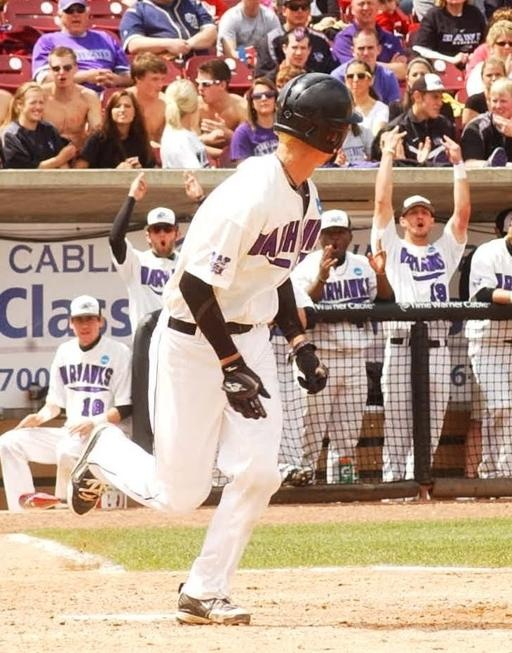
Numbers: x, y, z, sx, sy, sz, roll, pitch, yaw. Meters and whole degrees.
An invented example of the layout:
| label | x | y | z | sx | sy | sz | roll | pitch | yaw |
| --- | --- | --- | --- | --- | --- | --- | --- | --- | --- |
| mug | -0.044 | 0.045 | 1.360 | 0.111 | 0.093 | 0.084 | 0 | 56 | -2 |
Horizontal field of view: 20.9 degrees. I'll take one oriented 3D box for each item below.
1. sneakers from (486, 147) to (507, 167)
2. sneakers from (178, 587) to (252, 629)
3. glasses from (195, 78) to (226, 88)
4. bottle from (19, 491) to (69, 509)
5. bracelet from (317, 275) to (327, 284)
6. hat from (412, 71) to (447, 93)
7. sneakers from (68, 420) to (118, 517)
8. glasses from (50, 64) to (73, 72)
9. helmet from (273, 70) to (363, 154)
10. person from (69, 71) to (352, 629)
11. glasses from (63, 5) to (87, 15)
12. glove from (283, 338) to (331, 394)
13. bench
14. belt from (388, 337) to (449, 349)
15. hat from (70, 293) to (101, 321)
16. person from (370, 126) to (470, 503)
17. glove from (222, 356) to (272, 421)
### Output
| label | x | y | z | sx | sy | sz | roll | pitch | yaw |
| --- | --- | --- | --- | --- | --- | --- | --- | --- | --- |
| sneakers | 1.604 | -1.106 | 9.211 | 0.073 | 0.186 | 0.078 | 29 | -12 | -39 |
| sneakers | -0.165 | 1.061 | 5.110 | 0.291 | 0.120 | 0.102 | 0 | -11 | 9 |
| glasses | -0.333 | -1.675 | 9.557 | 0.120 | 0.036 | 0.114 | 0 | 13 | -20 |
| bottle | -1.273 | 1.025 | 8.111 | 0.244 | 0.093 | 0.222 | 3 | -8 | -6 |
| bracelet | 0.378 | -0.276 | 8.113 | 0.037 | 0.037 | 0.139 | -5 | -15 | 11 |
| hat | 1.129 | -1.593 | 9.084 | 0.192 | 0.100 | 0.118 | 10 | 27 | 38 |
| sneakers | -0.745 | 0.647 | 6.036 | 0.199 | 0.476 | 0.163 | 20 | 28 | 20 |
| glasses | -1.297 | -1.719 | 9.257 | 0.141 | 0.061 | 0.065 | 4 | -8 | -13 |
| helmet | 0.216 | -0.787 | 5.086 | 0.350 | 0.275 | 0.257 | -13 | 37 | -35 |
| person | -0.115 | 0.095 | 5.365 | 0.633 | 2.051 | 1.002 | 5 | -8 | -19 |
| glasses | -1.345 | -2.351 | 10.302 | 0.101 | 0.091 | 0.027 | -5 | 24 | -23 |
| glove | 0.157 | 0.181 | 5.430 | 0.092 | 0.213 | 0.163 | -34 | -3 | 41 |
| bench | -0.095 | 0.679 | 7.082 | 2.817 | 0.381 | 0.632 | -2 | -9 | 2 |
| belt | 0.973 | 0.100 | 8.358 | 0.345 | 0.061 | 0.064 | 3 | -7 | -8 |
| hat | -1.058 | -0.125 | 8.573 | 0.128 | 0.094 | 0.172 | -2 | -7 | -3 |
| person | 0.979 | -0.107 | 8.457 | 0.681 | 2.296 | 0.531 | 5 | -7 | -14 |
| glove | -0.041 | 0.233 | 5.016 | 0.141 | 0.245 | 0.079 | -34 | 0 | -4 |
